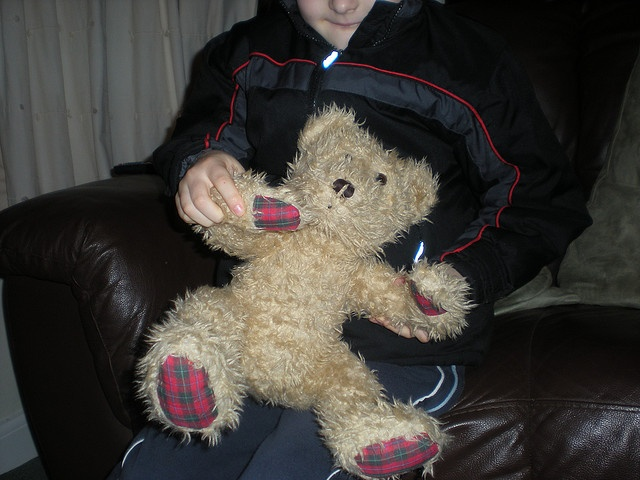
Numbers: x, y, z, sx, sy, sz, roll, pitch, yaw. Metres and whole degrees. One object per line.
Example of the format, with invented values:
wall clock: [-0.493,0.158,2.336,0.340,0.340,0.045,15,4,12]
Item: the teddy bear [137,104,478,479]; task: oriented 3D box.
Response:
teddy bear: [0.003,0.103,0.938,0.605,0.565,0.433,-3,29,-20]
